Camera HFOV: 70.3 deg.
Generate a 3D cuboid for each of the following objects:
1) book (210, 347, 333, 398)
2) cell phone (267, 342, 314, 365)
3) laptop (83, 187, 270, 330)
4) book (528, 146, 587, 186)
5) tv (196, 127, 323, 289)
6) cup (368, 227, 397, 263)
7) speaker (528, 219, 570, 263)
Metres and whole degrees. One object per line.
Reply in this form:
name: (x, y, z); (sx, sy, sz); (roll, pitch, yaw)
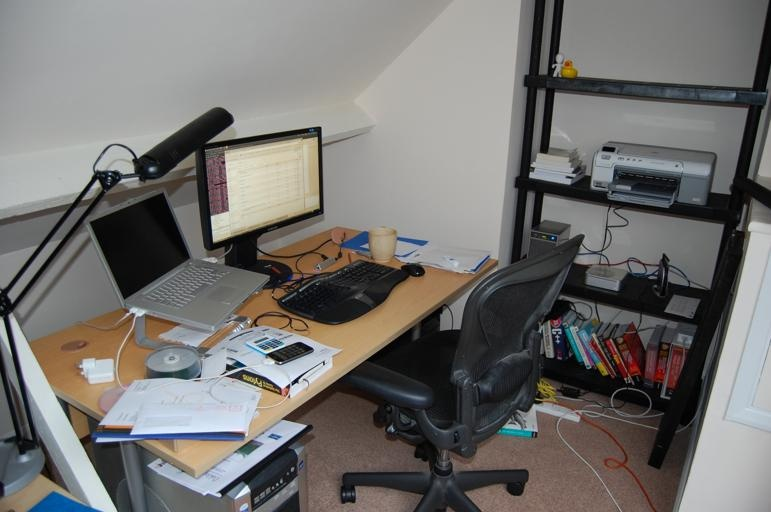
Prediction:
book: (-0.388, 0.405, 1.885); (0.187, 0.043, 0.183); (18, 28, 34)
cell phone: (-0.340, 0.344, 1.931); (0.128, 0.016, 0.064); (-15, 32, -35)
laptop: (-0.842, 0.077, 2.181); (0.619, 0.386, 0.476); (18, 33, 14)
book: (0.925, -0.520, 2.957); (0.214, 0.109, 0.249); (12, 30, 32)
tv: (-0.554, -0.222, 2.398); (0.250, 0.573, 0.611); (17, 29, 31)
cup: (-0.012, -0.059, 2.661); (0.126, 0.135, 0.163); (4, 22, 14)
speaker: (0.807, -0.072, 2.700); (0.138, 0.156, 0.277); (20, 18, 32)
